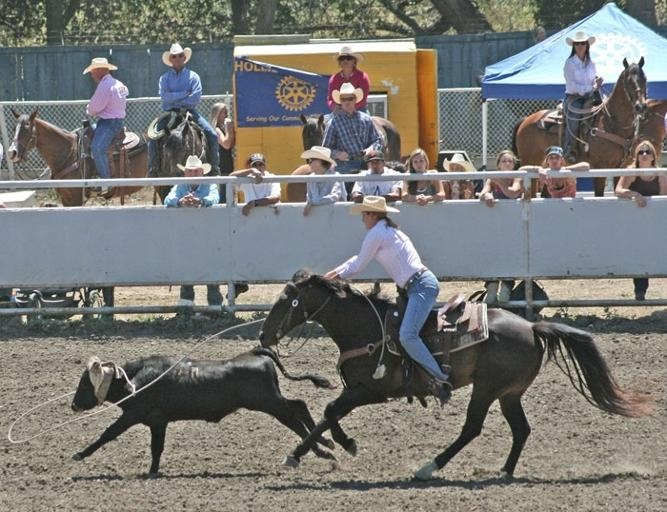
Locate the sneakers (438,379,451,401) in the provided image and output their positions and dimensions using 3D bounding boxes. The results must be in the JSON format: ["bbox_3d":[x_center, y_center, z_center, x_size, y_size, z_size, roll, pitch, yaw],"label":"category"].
[{"bbox_3d":[1.380,1.692,18.694,0.173,0.267,0.081,-2,5,-27],"label":"sneakers"}]

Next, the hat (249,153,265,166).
[{"bbox_3d":[-1.132,-1.413,22.055,0.246,0.199,0.421,3,-2,-3],"label":"hat"}]

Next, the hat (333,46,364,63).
[{"bbox_3d":[0.213,-3.226,24.061,0.392,0.187,0.464,7,-22,13],"label":"hat"}]

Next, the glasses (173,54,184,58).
[{"bbox_3d":[-2.445,-3.191,23.843,0.077,0.074,0.191,5,7,40],"label":"glasses"}]

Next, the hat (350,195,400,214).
[{"bbox_3d":[0.564,-0.621,18.925,0.299,0.139,0.357,4,-4,36],"label":"hat"}]

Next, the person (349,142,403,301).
[{"bbox_3d":[0.618,-0.696,21.960,1.086,1.699,0.677,1,8,8],"label":"person"}]

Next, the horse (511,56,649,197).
[{"bbox_3d":[3.984,-1.811,24.508,0.809,2.612,3.342,-11,8,-33],"label":"horse"}]

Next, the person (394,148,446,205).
[{"bbox_3d":[1.237,-1.127,21.761,0.672,0.818,0.957,-4,15,4],"label":"person"}]

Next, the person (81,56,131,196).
[{"bbox_3d":[-3.664,-2.242,24.365,0.657,1.954,0.897,0,5,-10],"label":"person"}]

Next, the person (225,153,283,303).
[{"bbox_3d":[-1.150,-0.423,21.934,0.690,2.104,0.617,0,5,-4],"label":"person"}]

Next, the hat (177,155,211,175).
[{"bbox_3d":[-2.066,-1.382,22.721,0.334,0.159,0.400,-1,-25,0],"label":"hat"}]

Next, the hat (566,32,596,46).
[{"bbox_3d":[3.935,-3.493,24.105,0.502,0.204,0.613,1,-10,7],"label":"hat"}]

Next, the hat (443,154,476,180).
[{"bbox_3d":[1.904,-1.440,23.097,0.417,0.267,0.856,1,5,2],"label":"hat"}]

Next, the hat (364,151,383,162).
[{"bbox_3d":[0.557,-1.429,21.498,0.289,0.152,0.227,3,5,18],"label":"hat"}]

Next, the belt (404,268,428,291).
[{"bbox_3d":[1.003,0.292,18.864,0.285,0.088,0.220,-44,-5,9],"label":"belt"}]

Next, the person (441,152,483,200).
[{"bbox_3d":[1.922,-1.184,23.096,0.545,0.791,0.274,2,20,11],"label":"person"}]

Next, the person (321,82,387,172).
[{"bbox_3d":[0.266,-1.926,23.149,0.613,1.494,2.236,-5,4,3],"label":"person"}]

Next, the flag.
[{"bbox_3d":[-0.905,-2.834,25.438,1.335,0.942,0.101,2,10,-8],"label":"flag"}]
